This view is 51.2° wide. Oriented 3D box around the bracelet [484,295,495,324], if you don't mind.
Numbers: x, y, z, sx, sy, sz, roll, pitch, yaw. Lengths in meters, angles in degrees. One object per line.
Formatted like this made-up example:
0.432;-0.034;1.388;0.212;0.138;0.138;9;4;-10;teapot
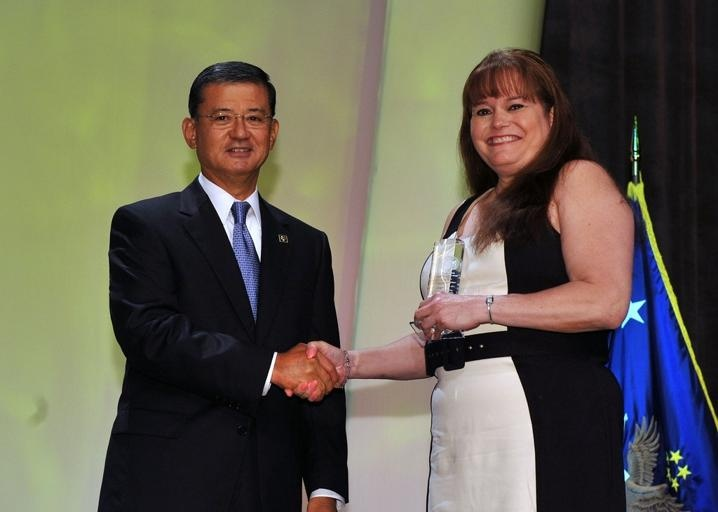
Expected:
0.478;0.188;2.699;0.035;0.094;0.026;-9;-23;10;bracelet

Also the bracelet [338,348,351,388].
-0.053;0.449;3.086;0.033;0.116;0.083;-6;8;0;bracelet

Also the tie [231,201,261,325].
-0.425;0.014;2.859;0.080;0.518;0.079;7;-40;-17;tie
